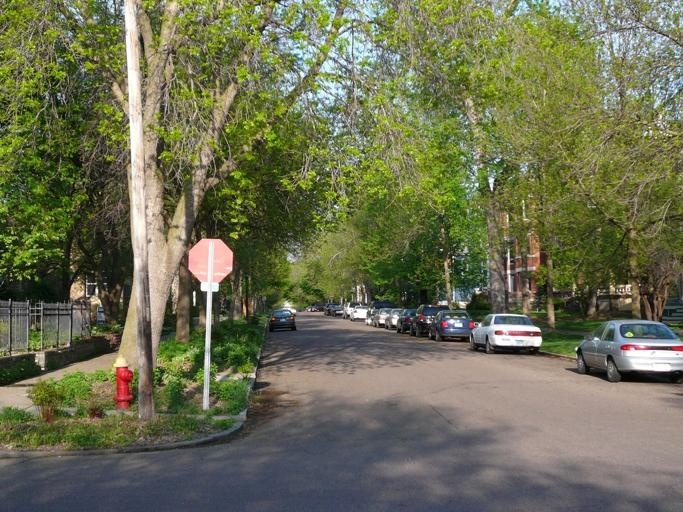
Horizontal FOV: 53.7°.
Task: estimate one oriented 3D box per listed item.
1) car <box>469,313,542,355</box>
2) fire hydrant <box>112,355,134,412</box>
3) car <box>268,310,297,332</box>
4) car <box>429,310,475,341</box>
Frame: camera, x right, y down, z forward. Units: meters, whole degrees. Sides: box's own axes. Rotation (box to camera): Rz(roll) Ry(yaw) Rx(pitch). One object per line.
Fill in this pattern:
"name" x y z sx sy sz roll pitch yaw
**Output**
"car" 6.920 3.297 28.382 1.942 1.663 2.521 2 -8 -13
"fire hydrant" -4.585 2.675 14.147 0.342 1.082 0.611 2 -6 -20
"car" -4.437 4.856 50.211 1.892 1.706 2.218 1 -7 -8
"car" 5.884 3.682 35.981 1.564 1.651 2.887 3 -8 -22
